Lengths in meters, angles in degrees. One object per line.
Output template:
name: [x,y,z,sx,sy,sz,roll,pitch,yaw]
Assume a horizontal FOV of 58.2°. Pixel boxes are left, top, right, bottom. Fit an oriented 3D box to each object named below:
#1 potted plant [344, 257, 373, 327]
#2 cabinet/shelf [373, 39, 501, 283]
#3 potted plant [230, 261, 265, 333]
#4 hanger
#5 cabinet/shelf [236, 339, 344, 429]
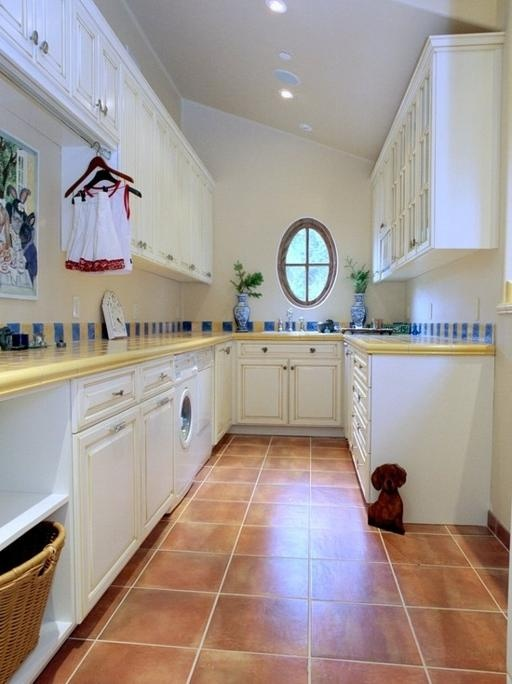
potted plant: [0.967,-0.477,4.403,0.230,0.680,0.271,1,2,12]
cabinet/shelf: [0.929,-0.947,2.353,0.173,0.722,1.115,-1,4,4]
potted plant: [-0.073,-0.447,4.483,0.306,0.705,0.393,0,1,-5]
hanger: [-0.726,-0.786,2.209,0.360,0.234,0.211,0,1,-31]
cabinet/shelf: [0.285,0.169,4.095,0.932,1.223,0.591,0,-3,3]
